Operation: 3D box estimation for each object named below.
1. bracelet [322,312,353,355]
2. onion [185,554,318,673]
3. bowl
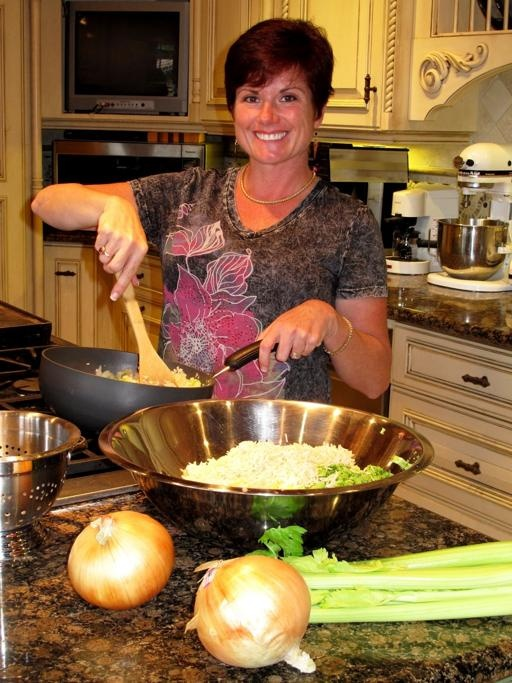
[{"bbox_3d":[0.143,-0.011,1.048,0.063,0.064,0.020,4,-5,-12],"label":"bracelet"},{"bbox_3d":[-0.007,0.201,0.446,0.102,0.078,0.079,1,8,4],"label":"onion"},{"bbox_3d":[-0.013,0.134,0.653,0.215,0.057,0.194,6,6,19],"label":"bowl"}]
